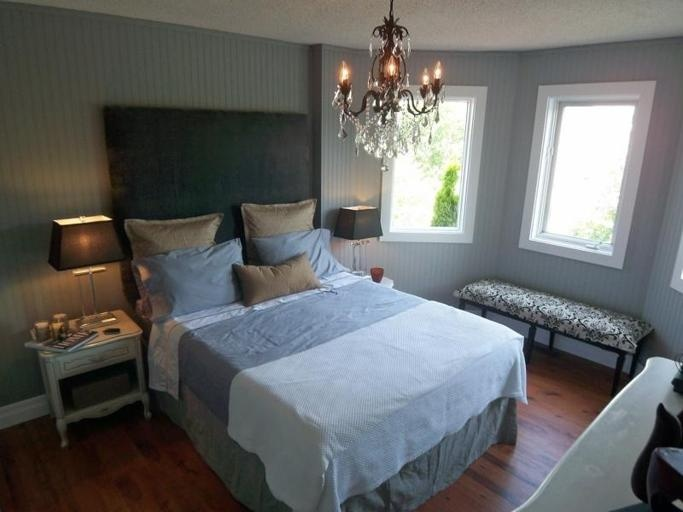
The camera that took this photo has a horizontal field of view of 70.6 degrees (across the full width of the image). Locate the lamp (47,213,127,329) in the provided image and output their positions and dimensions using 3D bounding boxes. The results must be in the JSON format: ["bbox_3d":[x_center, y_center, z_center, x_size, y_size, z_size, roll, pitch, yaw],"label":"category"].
[{"bbox_3d":[-1.961,0.116,3.695,0.585,0.807,0.626,-2,10,7],"label":"lamp"}]

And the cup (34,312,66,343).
[{"bbox_3d":[-2.073,0.516,3.474,0.324,0.172,0.132,1,14,25],"label":"cup"}]

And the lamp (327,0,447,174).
[{"bbox_3d":[0.330,-1.426,3.898,0.836,1.589,0.924,18,29,33],"label":"lamp"}]

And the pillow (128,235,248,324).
[{"bbox_3d":[-1.181,0.187,3.746,0.845,0.526,0.251,-15,-3,-37],"label":"pillow"}]

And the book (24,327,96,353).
[{"bbox_3d":[-1.949,0.607,3.422,0.230,0.034,0.212,9,15,36],"label":"book"}]

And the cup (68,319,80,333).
[{"bbox_3d":[-2.013,0.524,3.627,0.108,0.112,0.081,-4,0,42],"label":"cup"}]

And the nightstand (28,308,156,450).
[{"bbox_3d":[-1.937,0.888,3.768,0.691,0.851,0.635,-15,29,-40],"label":"nightstand"}]

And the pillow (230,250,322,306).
[{"bbox_3d":[-0.554,0.186,4.011,0.831,0.347,0.321,-11,35,-40],"label":"pillow"}]

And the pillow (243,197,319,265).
[{"bbox_3d":[-0.586,-0.214,4.430,0.561,0.449,0.117,-11,11,-37],"label":"pillow"}]

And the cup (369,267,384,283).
[{"bbox_3d":[0.359,0.195,4.936,0.125,0.134,0.133,2,20,-1],"label":"cup"}]
